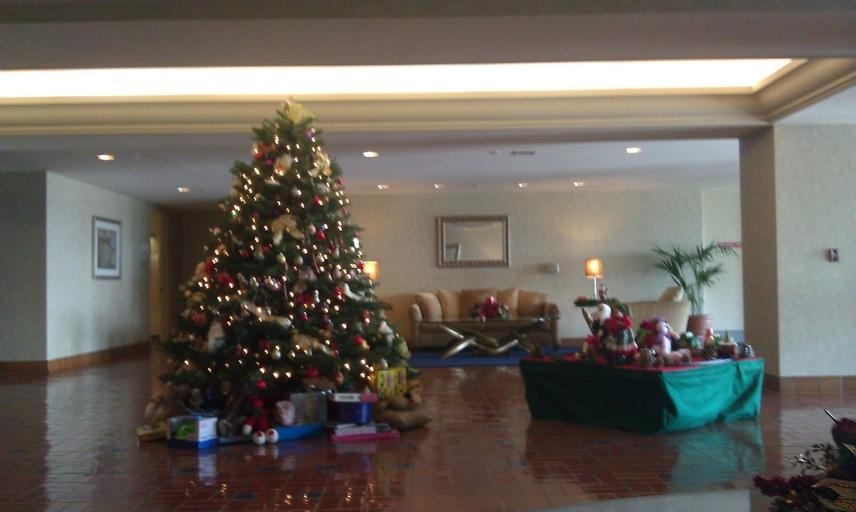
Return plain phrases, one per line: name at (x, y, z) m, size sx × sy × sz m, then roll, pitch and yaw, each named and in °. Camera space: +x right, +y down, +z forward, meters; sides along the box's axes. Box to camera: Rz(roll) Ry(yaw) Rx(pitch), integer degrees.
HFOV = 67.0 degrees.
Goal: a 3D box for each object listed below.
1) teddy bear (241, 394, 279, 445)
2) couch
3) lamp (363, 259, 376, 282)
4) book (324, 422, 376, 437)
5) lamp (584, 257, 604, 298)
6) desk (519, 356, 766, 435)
teddy bear at (-1.749, 1.681, 6.748) m, size 0.355 × 0.403 × 0.463 m, roll -2°, pitch 8°, yaw -3°
couch at (1.025, 1.193, 12.120) m, size 2.862 × 1.158 × 1.214 m, roll -1°, pitch -9°, yaw 0°
lamp at (-1.133, 0.311, 12.750) m, size 0.250 × 0.396 × 0.847 m, roll -2°, pitch 7°, yaw -5°
book at (-0.796, 1.794, 6.722) m, size 0.485 × 0.123 × 0.125 m, roll -2°, pitch 8°, yaw -7°
lamp at (3.264, 0.418, 12.812) m, size 0.380 × 0.750 × 0.704 m, roll 0°, pitch 8°, yaw 13°
desk at (2.471, 1.560, 7.309) m, size 2.483 × 0.799 × 2.009 m, roll 2°, pitch -3°, yaw -42°
